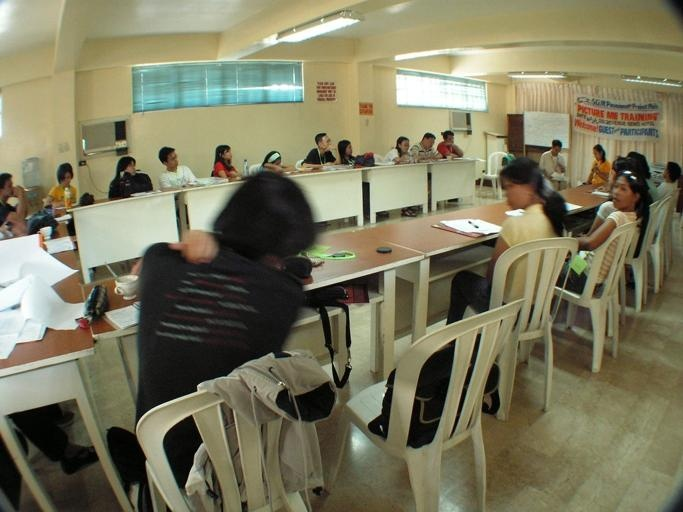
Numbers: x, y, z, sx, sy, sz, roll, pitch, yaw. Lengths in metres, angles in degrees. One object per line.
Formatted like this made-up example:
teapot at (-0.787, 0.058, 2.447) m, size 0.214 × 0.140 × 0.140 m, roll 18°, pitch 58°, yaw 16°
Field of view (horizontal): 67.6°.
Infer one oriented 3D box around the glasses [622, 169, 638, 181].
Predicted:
glasses at (1.974, -0.559, 3.493) m, size 0.071 × 0.038 × 0.096 m, roll 7°, pitch 25°, yaw -1°

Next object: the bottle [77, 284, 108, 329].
bottle at (-1.226, 0.253, 2.609) m, size 0.081 × 0.109 × 0.274 m, roll 25°, pitch 20°, yaw -10°

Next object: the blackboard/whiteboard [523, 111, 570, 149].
blackboard/whiteboard at (4.682, -2.846, 11.521) m, size 0.141 × 1.052 × 1.400 m, roll -18°, pitch 22°, yaw -41°

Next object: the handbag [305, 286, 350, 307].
handbag at (-0.084, 0.230, 2.934) m, size 0.193 × 0.069 × 0.110 m, roll -11°, pitch 11°, yaw -41°

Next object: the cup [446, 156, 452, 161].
cup at (1.804, -1.613, 8.450) m, size 0.064 × 0.056 × 0.079 m, roll 0°, pitch 7°, yaw 16°

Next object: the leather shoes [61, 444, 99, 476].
leather shoes at (-1.391, 1.068, 2.717) m, size 0.165 × 0.133 × 0.103 m, roll -10°, pitch 13°, yaw -31°

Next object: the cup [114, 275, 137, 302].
cup at (-1.133, 0.170, 2.761) m, size 0.139 × 0.098 × 0.111 m, roll -12°, pitch 23°, yaw -33°

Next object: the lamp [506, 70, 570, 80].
lamp at (3.954, -3.600, 10.146) m, size 1.209 × 0.083 × 0.212 m, roll -1°, pitch 50°, yaw 8°
